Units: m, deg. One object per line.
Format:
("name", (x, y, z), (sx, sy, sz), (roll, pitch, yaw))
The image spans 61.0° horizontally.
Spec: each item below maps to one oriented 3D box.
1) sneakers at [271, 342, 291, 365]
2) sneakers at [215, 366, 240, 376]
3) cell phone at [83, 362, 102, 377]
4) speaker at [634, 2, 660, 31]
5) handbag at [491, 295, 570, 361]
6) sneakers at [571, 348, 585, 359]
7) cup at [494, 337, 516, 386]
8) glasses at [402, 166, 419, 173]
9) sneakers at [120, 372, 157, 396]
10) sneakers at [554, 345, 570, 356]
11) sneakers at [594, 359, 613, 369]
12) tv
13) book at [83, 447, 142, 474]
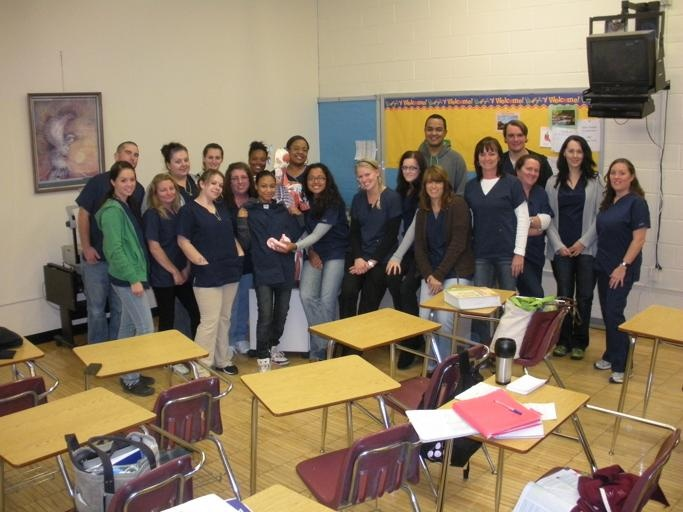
("sneakers", (-0.614, 0.946, 5.615), (0.099, 0.111, 0.264), (-13, 17, -35))
("sneakers", (-1.058, 1.045, 5.350), (0.192, 0.080, 0.083), (3, 6, 17))
("cell phone", (-1.516, 0.682, 3.528), (0.079, 0.019, 0.083), (0, 17, 3))
("speaker", (2.773, -2.171, 5.229), (0.189, 0.272, 0.227), (2, 14, 27))
("handbag", (1.323, 0.488, 4.061), (0.487, 0.422, 0.197), (-7, 13, -11))
("sneakers", (2.246, 0.920, 5.516), (0.066, 0.057, 0.141), (3, 5, 39))
("cup", (0.901, 0.552, 3.182), (0.109, 0.277, 0.196), (-1, 13, 15))
("glasses", (0.666, -0.835, 5.500), (0.147, 0.058, 0.053), (-2, 13, 8))
("sneakers", (-1.773, 1.126, 5.074), (0.280, 0.100, 0.190), (7, 26, 11))
("sneakers", (2.125, 0.909, 5.589), (0.070, 0.057, 0.149), (3, 1, 36))
("sneakers", (2.399, 0.987, 5.306), (0.143, 0.063, 0.076), (-15, 16, 49))
("tv", (2.668, -1.701, 5.404), (0.717, 0.653, 0.583), (4, 20, 35))
("book", (-1.080, 0.966, 2.761), (0.176, 0.063, 0.106), (-5, 10, -42))
